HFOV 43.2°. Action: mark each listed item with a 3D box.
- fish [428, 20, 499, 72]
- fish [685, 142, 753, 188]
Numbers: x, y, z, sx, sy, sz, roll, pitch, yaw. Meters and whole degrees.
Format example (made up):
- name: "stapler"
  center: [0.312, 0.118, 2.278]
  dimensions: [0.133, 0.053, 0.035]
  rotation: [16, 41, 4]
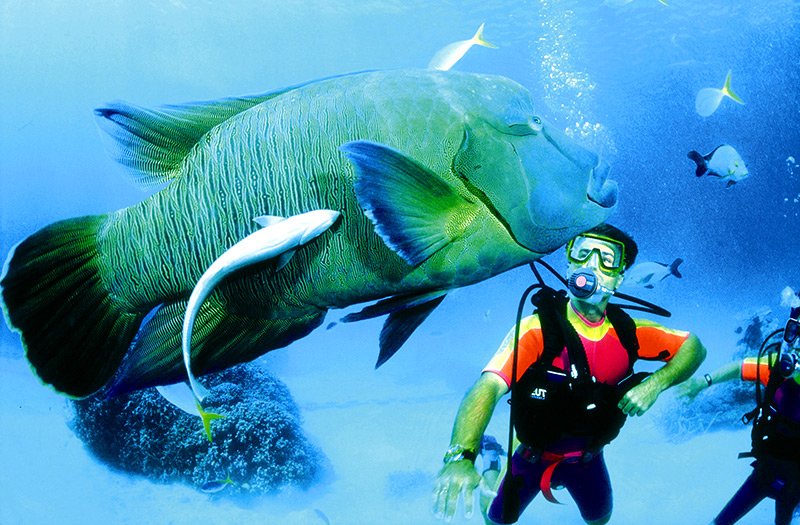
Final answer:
- name: "fish"
  center: [0.691, -2.767, 13.193]
  dimensions: [1.048, 0.479, 0.535]
  rotation: [-26, 38, -23]
- name: "fish"
  center: [4.298, -1.341, 13.494]
  dimensions: [0.902, 0.578, 0.424]
  rotation: [13, 20, 15]
